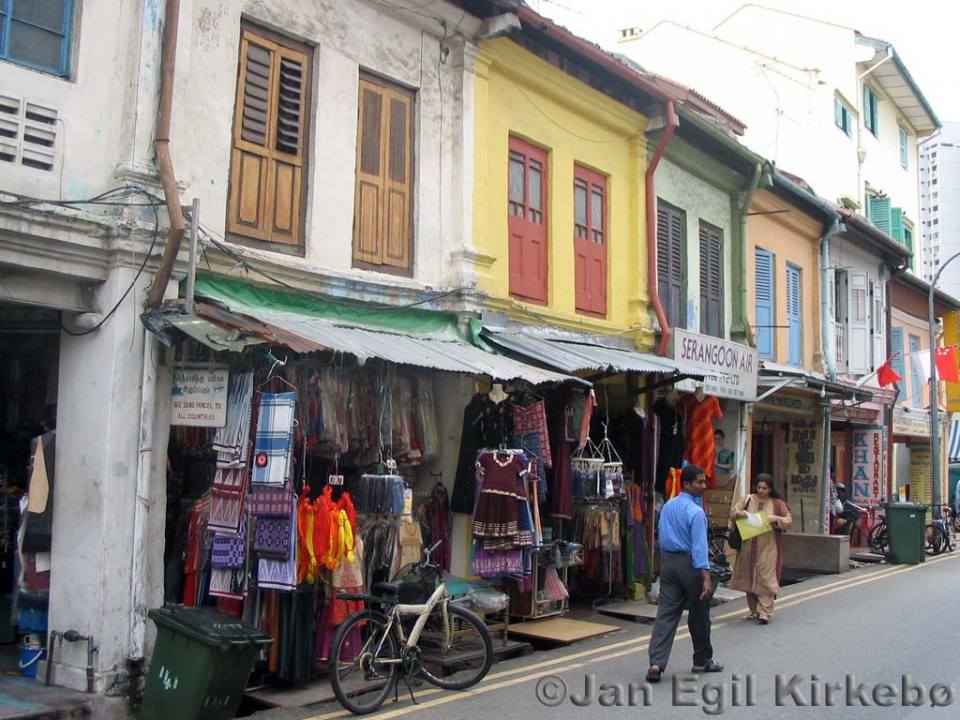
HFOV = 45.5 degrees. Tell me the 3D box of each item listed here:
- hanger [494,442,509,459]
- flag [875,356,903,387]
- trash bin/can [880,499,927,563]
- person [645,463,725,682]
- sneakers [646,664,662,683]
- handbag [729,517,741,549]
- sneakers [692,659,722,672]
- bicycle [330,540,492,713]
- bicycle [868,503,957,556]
[{"bbox_3d":[0.249,1.146,14.380,0.169,0.263,0.053,-3,-43,4],"label":"hanger"},{"bbox_3d":[9.488,0.274,26.788,0.553,0.690,0.356,-17,-22,42],"label":"flag"},{"bbox_3d":[8.137,3.310,22.008,0.924,1.446,0.960,-4,-13,39],"label":"trash bin/can"},{"bbox_3d":[2.253,2.422,13.036,0.788,2.414,0.680,-3,-11,13],"label":"person"},{"bbox_3d":[1.934,3.496,12.731,0.243,0.187,0.218,3,-12,-14],"label":"sneakers"},{"bbox_3d":[3.498,2.387,15.822,0.179,0.409,0.854,-3,-13,12],"label":"handbag"},{"bbox_3d":[2.572,3.500,13.027,0.327,0.163,0.143,-2,-4,-5],"label":"sneakers"},{"bbox_3d":[-0.801,3.002,12.456,1.783,1.556,1.303,3,-12,-14],"label":"bicycle"},{"bbox_3d":[8.656,3.465,23.226,1.868,1.338,1.022,2,-20,5],"label":"bicycle"}]
